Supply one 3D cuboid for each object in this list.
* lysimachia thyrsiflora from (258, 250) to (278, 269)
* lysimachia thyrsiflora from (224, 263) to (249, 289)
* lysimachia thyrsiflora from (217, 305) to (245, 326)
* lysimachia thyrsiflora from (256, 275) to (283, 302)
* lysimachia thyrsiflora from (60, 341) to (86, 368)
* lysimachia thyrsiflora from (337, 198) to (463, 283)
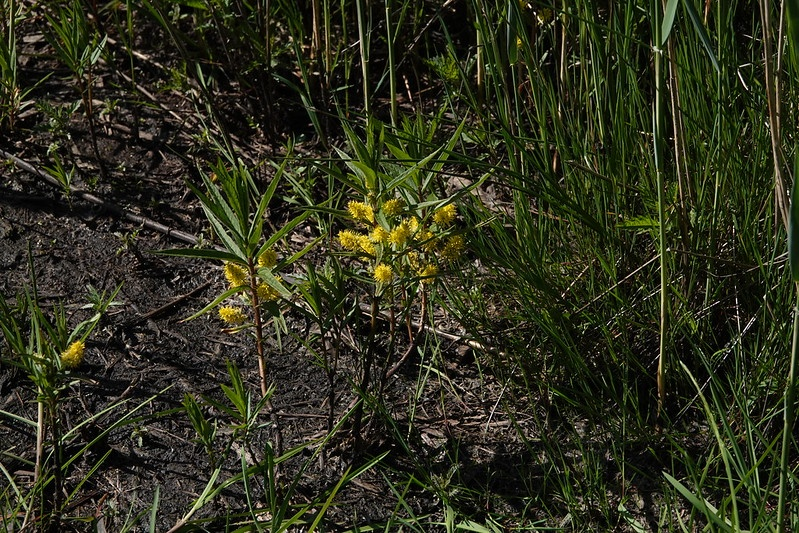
[{"bbox_3d":[-0.355,-0.019,2.046,0.044,0.072,0.053,-6,76,-18],"label":"lysimachia thyrsiflora"},{"bbox_3d":[-0.451,0.024,2.110,0.057,0.042,0.042,42,61,14],"label":"lysimachia thyrsiflora"},{"bbox_3d":[-0.516,0.151,2.308,0.058,0.051,0.062,7,17,10],"label":"lysimachia thyrsiflora"},{"bbox_3d":[-0.363,0.070,2.135,0.059,0.074,0.063,-4,13,3],"label":"lysimachia thyrsiflora"},{"bbox_3d":[-0.940,0.249,2.196,0.059,0.075,0.058,-13,89,-8],"label":"lysimachia thyrsiflora"},{"bbox_3d":[0.003,-0.136,2.141,0.246,0.243,0.273,-12,37,-14],"label":"lysimachia thyrsiflora"}]
